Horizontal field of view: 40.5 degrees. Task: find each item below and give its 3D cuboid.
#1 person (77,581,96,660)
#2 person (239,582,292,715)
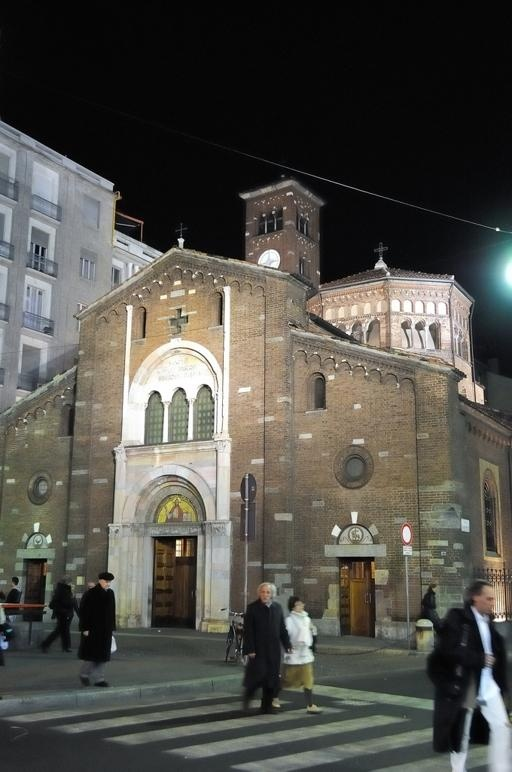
[{"bbox_3d":[-2.543,3.598,10.482,0.251,1.104,0.399,6,-15,-18],"label":"person"},{"bbox_3d":[0.114,3.308,8.661,0.543,1.602,0.769,-2,-15,12],"label":"person"}]
